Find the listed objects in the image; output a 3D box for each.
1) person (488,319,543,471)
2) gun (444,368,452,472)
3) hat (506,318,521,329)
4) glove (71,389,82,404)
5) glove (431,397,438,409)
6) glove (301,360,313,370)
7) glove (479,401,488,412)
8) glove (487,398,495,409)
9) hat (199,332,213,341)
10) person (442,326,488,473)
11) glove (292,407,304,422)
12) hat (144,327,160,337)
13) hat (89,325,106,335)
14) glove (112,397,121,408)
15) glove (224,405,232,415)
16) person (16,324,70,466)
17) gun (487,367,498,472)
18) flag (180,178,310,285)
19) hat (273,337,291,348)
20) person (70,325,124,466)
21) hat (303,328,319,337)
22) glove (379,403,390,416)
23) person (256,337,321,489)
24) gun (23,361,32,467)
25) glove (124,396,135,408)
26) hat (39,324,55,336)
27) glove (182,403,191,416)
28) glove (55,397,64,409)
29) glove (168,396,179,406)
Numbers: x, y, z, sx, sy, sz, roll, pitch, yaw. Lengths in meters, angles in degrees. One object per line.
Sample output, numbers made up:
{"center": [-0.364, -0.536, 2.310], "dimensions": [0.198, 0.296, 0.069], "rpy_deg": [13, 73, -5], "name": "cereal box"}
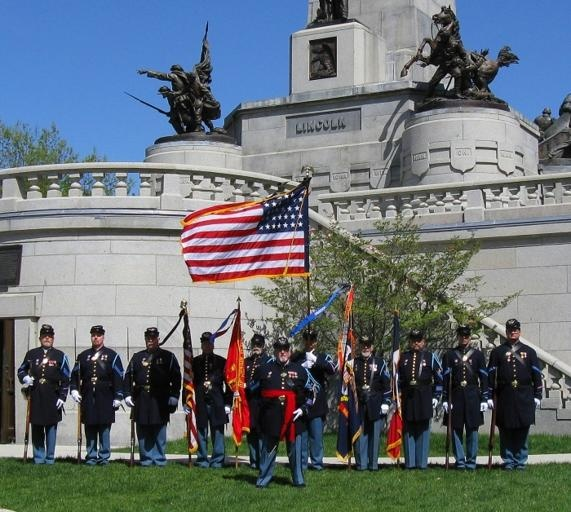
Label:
{"center": [3.971, 2.390, 28.518], "dimensions": [0.905, 2.632, 0.541], "rpy_deg": [-2, -10, 6], "name": "person"}
{"center": [2.837, 2.826, 28.779], "dimensions": [0.068, 1.746, 0.292], "rpy_deg": [2, -6, 4], "name": "gun"}
{"center": [3.941, 1.196, 28.602], "dimensions": [0.222, 0.228, 0.313], "rpy_deg": [-2, -10, 4], "name": "hat"}
{"center": [-3.670, 2.503, 29.199], "dimensions": [0.190, 0.237, 0.281], "rpy_deg": [1, -10, -10], "name": "glove"}
{"center": [2.593, 2.569, 28.597], "dimensions": [0.100, 0.140, 0.049], "rpy_deg": [-2, -6, 27], "name": "glove"}
{"center": [0.385, 1.881, 28.360], "dimensions": [0.137, 0.117, 0.150], "rpy_deg": [-45, 6, -12], "name": "glove"}
{"center": [3.443, 2.607, 28.508], "dimensions": [0.116, 0.157, 0.159], "rpy_deg": [20, -17, 2], "name": "glove"}
{"center": [3.545, 2.575, 28.555], "dimensions": [0.107, 0.180, 0.223], "rpy_deg": [-2, -10, 8], "name": "glove"}
{"center": [-1.423, 1.452, 29.883], "dimensions": [0.240, 0.282, 0.116], "rpy_deg": [0, -1, -9], "name": "hat"}
{"center": [3.138, 2.471, 28.665], "dimensions": [0.775, 2.477, 0.310], "rpy_deg": [-2, -10, 7], "name": "person"}
{"center": [0.218, 2.621, 27.108], "dimensions": [0.188, 0.218, 0.129], "rpy_deg": [7, -13, -39], "name": "glove"}
{"center": [-2.375, 1.367, 29.555], "dimensions": [0.210, 0.122, 0.288], "rpy_deg": [2, -16, -6], "name": "hat"}
{"center": [-3.308, 1.337, 29.262], "dimensions": [0.227, 0.218, 0.221], "rpy_deg": [2, -10, -15], "name": "hat"}
{"center": [-2.944, 2.596, 28.965], "dimensions": [0.128, 0.133, 0.145], "rpy_deg": [-1, -44, 4], "name": "glove"}
{"center": [-1.010, 2.725, 29.109], "dimensions": [0.108, 0.157, 0.061], "rpy_deg": [3, -3, 17], "name": "glove"}
{"center": [-4.276, 2.464, 29.463], "dimensions": [0.923, 2.510, 0.496], "rpy_deg": [1, -10, -9], "name": "person"}
{"center": [3.626, 2.867, 28.929], "dimensions": [0.067, 1.763, 0.308], "rpy_deg": [3, -1, 5], "name": "gun"}
{"center": [-0.755, -0.382, 30.033], "dimensions": [2.152, 1.950, 0.374], "rpy_deg": [0, -6, 5], "name": "flag"}
{"center": [-0.045, 1.444, 27.498], "dimensions": [0.242, 0.163, 0.331], "rpy_deg": [1, -2, 4], "name": "hat"}
{"center": [-3.307, 2.481, 29.212], "dimensions": [0.978, 2.480, 0.602], "rpy_deg": [-1, -10, 1], "name": "person"}
{"center": [0.433, 1.360, 28.770], "dimensions": [0.177, 0.182, 0.171], "rpy_deg": [0, 6, -10], "name": "hat"}
{"center": [1.726, 2.683, 28.709], "dimensions": [0.168, 0.225, 0.153], "rpy_deg": [3, -15, -1], "name": "glove"}
{"center": [-0.042, 2.578, 27.228], "dimensions": [0.990, 2.499, 0.384], "rpy_deg": [-1, -10, 0], "name": "person"}
{"center": [-4.643, 2.854, 29.870], "dimensions": [0.069, 1.812, 0.283], "rpy_deg": [2, -8, -21], "name": "gun"}
{"center": [-2.736, 2.520, 28.909], "dimensions": [0.091, 0.251, 0.187], "rpy_deg": [-26, -41, -5], "name": "glove"}
{"center": [-4.270, 1.341, 29.631], "dimensions": [0.208, 0.110, 0.284], "rpy_deg": [2, -17, -12], "name": "hat"}
{"center": [-1.697, 2.665, 28.627], "dimensions": [0.047, 0.182, 0.134], "rpy_deg": [-10, 3, 45], "name": "glove"}
{"center": [-3.948, 2.634, 29.321], "dimensions": [0.135, 0.187, 0.066], "rpy_deg": [9, -3, 42], "name": "glove"}
{"center": [-1.970, 2.556, 29.021], "dimensions": [0.154, 0.143, 0.154], "rpy_deg": [-2, 2, 0], "name": "glove"}
